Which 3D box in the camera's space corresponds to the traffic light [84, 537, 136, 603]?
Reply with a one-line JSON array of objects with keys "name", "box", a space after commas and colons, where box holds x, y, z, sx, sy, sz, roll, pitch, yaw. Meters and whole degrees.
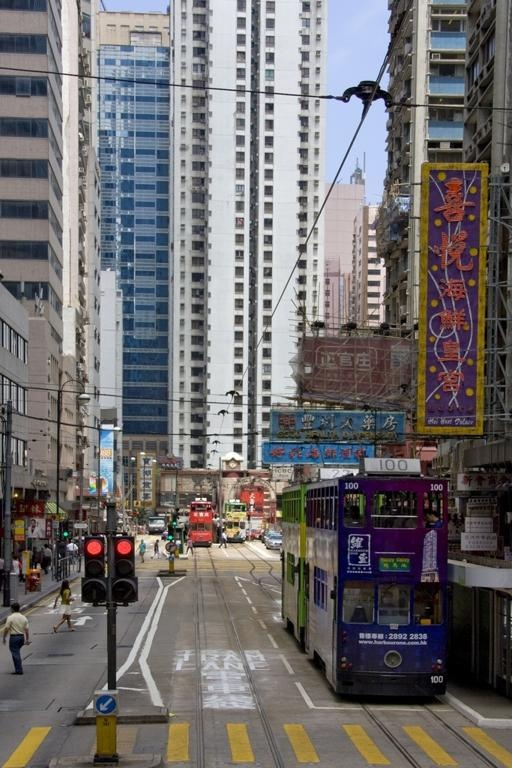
[{"name": "traffic light", "box": [-2.068, 2.600, 15.248, 0.583, 1.073, 0.440, -3, -3, -15]}]

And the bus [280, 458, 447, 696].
[{"name": "bus", "box": [2.192, 4.513, 26.418, 2.256, 4.531, 14.308, -2, -9, -3]}]
